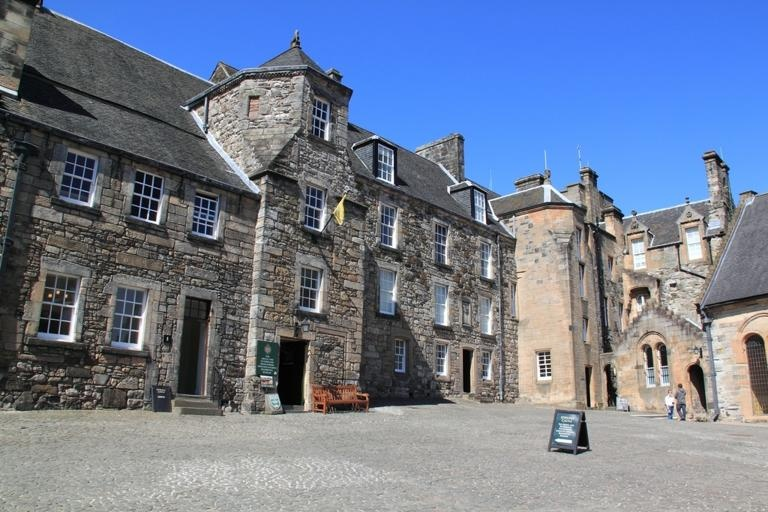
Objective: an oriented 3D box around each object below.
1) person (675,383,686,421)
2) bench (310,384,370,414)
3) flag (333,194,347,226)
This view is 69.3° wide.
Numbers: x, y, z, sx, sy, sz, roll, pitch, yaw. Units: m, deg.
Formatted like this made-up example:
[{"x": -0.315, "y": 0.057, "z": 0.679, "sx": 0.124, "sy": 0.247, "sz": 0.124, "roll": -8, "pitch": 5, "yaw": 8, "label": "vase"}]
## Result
[{"x": 14.127, "y": 7.044, "z": 26.458, "sx": 0.398, "sy": 1.422, "sz": 1.144, "roll": 1, "pitch": -8, "yaw": 25, "label": "person"}, {"x": -1.785, "y": 5.584, "z": 21.804, "sx": 2.300, "sy": 0.999, "sz": 0.946, "roll": 9, "pitch": -9, "yaw": -37, "label": "bench"}, {"x": -1.902, "y": -1.926, "z": 23.078, "sx": 0.510, "sy": 1.349, "sz": 1.029, "roll": 6, "pitch": -7, "yaw": -6, "label": "flag"}]
